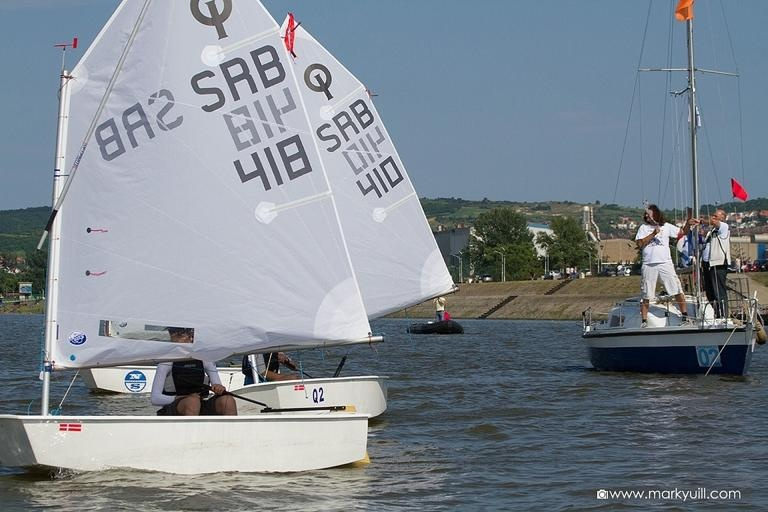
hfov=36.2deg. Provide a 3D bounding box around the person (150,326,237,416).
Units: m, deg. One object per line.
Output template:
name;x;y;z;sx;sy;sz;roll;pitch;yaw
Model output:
person;-3.067;2.122;18.882;1.298;1.134;0.587;8;-3;-12

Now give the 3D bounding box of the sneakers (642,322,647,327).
sneakers;6.100;1.574;27.449;0.121;0.064;0.170;2;2;12
